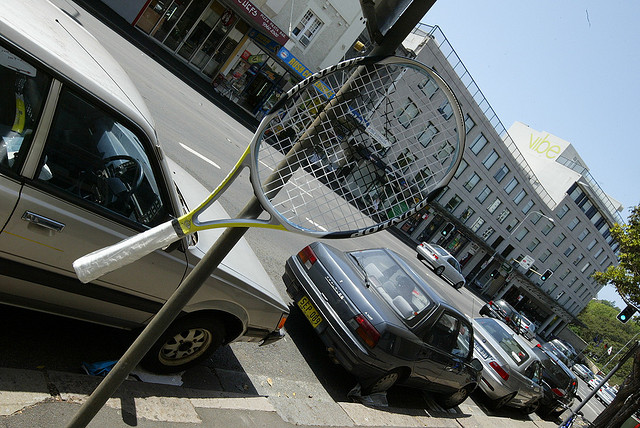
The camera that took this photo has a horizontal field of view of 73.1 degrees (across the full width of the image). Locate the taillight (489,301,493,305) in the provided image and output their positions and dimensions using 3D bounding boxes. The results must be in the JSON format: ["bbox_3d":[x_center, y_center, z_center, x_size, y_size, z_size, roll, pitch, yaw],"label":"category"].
[{"bbox_3d":[10.236,5.432,25.990,0.064,0.302,0.288,6,14,20],"label":"taillight"}]

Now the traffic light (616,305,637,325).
[{"bbox_3d":[10.209,3.354,14.413,0.292,0.812,0.461,38,8,35],"label":"traffic light"}]

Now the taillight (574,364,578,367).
[{"bbox_3d":[17.644,10.493,29.849,0.341,0.100,0.146,32,10,-41],"label":"taillight"}]

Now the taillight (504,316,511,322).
[{"bbox_3d":[10.905,6.131,25.106,0.080,0.359,0.347,-9,-12,42],"label":"taillight"}]

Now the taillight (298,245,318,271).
[{"bbox_3d":[-0.195,0.719,7.269,0.092,0.398,0.390,26,12,-42],"label":"taillight"}]

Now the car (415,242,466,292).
[{"bbox_3d":[7.725,3.021,25.895,4.173,1.412,1.730,32,2,-36],"label":"car"}]

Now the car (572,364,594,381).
[{"bbox_3d":[18.507,11.418,30.487,0.984,0.829,2.327,28,8,35],"label":"car"}]

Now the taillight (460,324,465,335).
[{"bbox_3d":[2.600,2.137,7.880,0.051,0.205,0.113,-2,2,-23],"label":"taillight"}]

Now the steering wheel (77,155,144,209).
[{"bbox_3d":[-1.994,-0.327,4.167,0.455,0.475,0.176,60,-14,-4],"label":"steering wheel"}]

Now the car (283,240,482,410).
[{"bbox_3d":[1.595,2.074,8.537,4.822,1.948,2.892,28,11,-39],"label":"car"}]

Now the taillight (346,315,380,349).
[{"bbox_3d":[0.658,1.724,6.403,0.496,0.121,0.304,45,24,8],"label":"taillight"}]

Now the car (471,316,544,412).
[{"bbox_3d":[4.369,3.617,10.370,2.153,1.409,1.320,33,8,-32],"label":"car"}]

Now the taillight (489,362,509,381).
[{"bbox_3d":[4.008,3.499,9.681,0.456,0.109,0.259,51,48,7],"label":"taillight"}]

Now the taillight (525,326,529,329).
[{"bbox_3d":[13.086,7.206,27.316,0.111,0.144,0.499,-7,-4,8],"label":"taillight"}]

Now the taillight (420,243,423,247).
[{"bbox_3d":[6.077,1.847,25.756,0.103,0.161,0.034,-13,7,-40],"label":"taillight"}]

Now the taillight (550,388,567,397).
[{"bbox_3d":[7.036,5.264,12.777,0.564,0.173,0.281,7,6,-32],"label":"taillight"}]
